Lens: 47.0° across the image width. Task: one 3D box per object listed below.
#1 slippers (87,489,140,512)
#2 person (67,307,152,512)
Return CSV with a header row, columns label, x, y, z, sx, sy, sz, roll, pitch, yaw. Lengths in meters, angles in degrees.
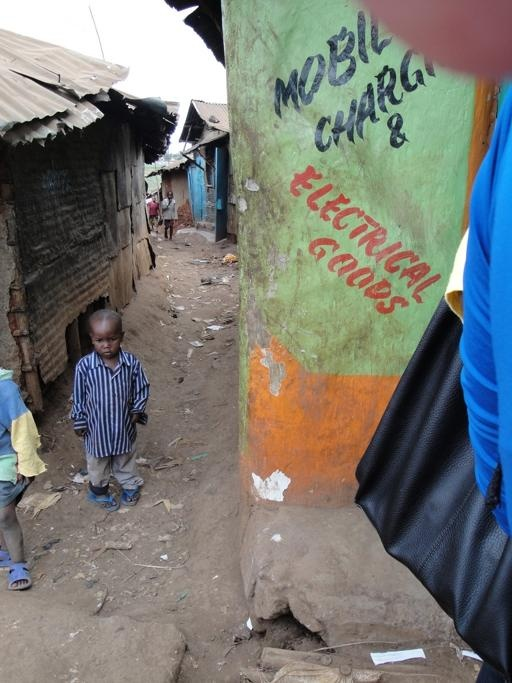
label,x,y,z,sx,sy,sz,roll,pitch,yaw
slippers,-0.968,1.077,4.060,0.349,0.141,0.136,-4,21,-2
person,-0.946,0.476,3.874,0.320,1.436,0.468,14,24,28
